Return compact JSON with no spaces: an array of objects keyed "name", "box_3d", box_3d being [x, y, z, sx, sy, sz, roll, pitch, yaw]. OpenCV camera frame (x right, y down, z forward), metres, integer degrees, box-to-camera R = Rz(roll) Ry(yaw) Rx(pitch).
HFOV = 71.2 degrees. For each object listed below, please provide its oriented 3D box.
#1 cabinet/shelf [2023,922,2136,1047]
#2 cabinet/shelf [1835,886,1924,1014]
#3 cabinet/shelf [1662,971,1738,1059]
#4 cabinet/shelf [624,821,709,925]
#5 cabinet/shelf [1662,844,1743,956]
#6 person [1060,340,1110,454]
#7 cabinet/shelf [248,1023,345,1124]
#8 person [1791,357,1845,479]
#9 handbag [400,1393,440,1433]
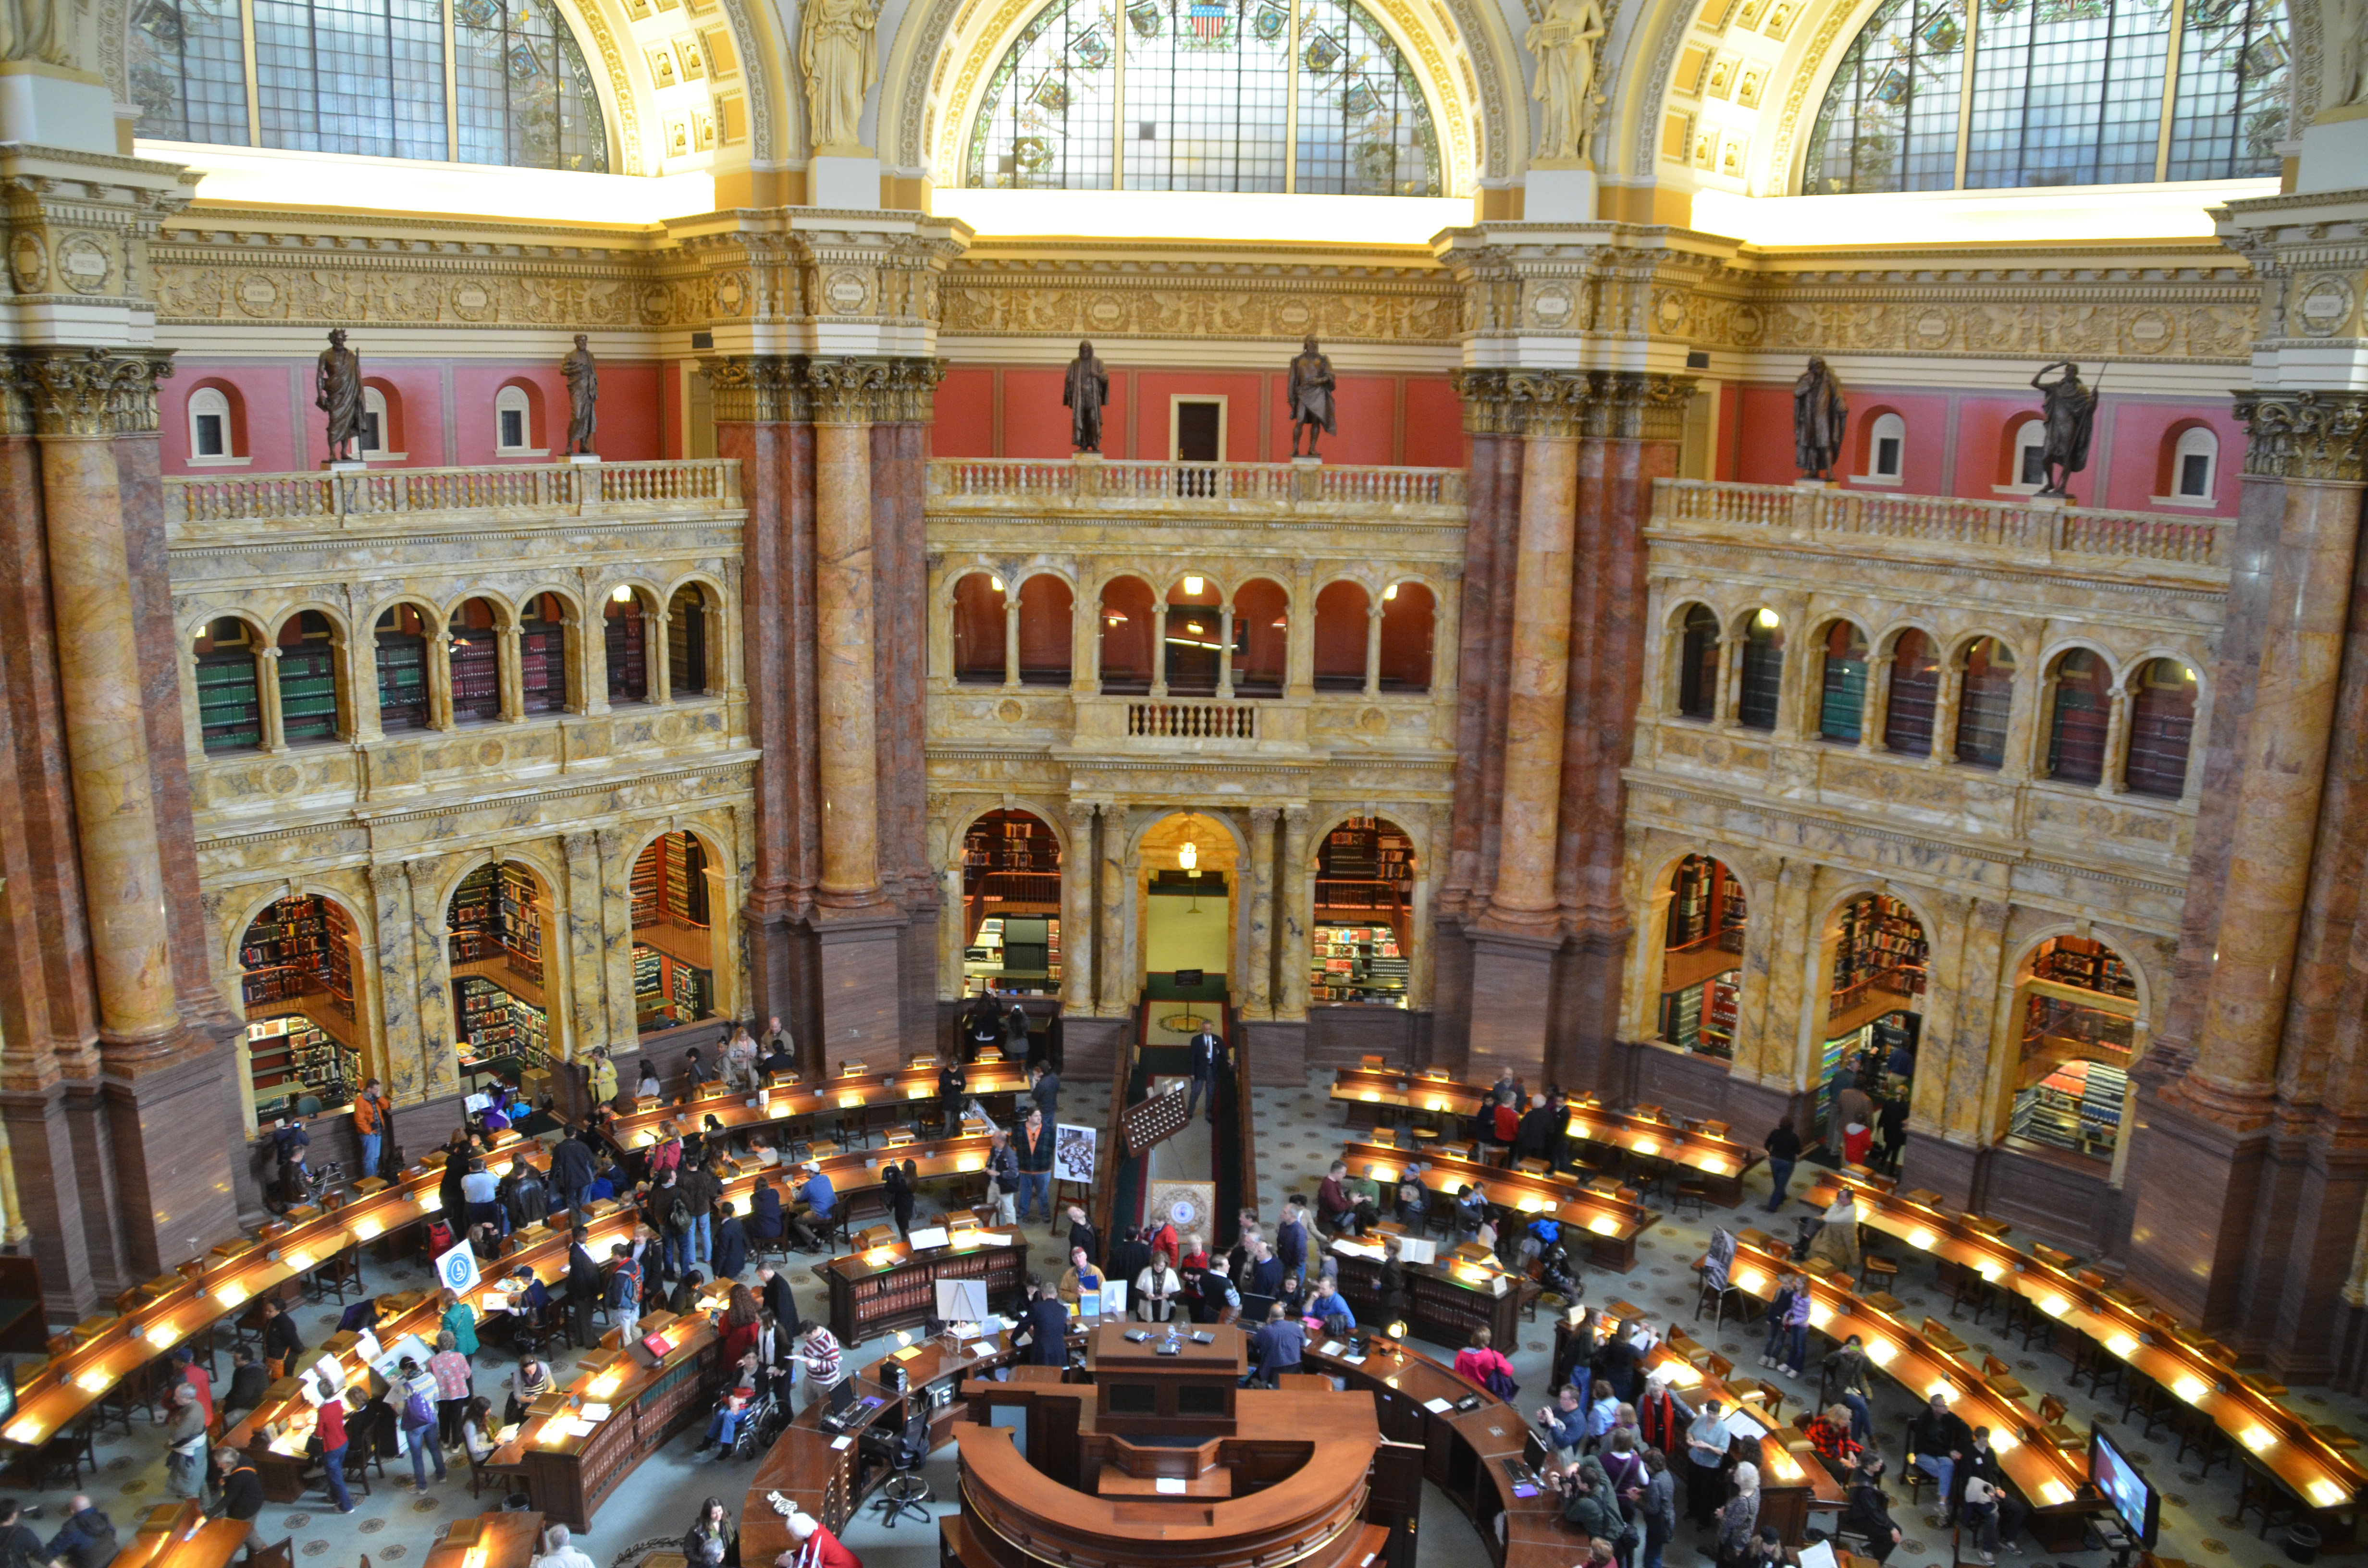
[{"name":"cabinet/shelf","box_3d":[15.437,3.390,28.758,2.220,0.576,2.364,-13,24,-31]},{"name":"cabinet/shelf","box_3d":[13.022,3.106,31.082,2.341,2.443,1.285,-1,4,-3]},{"name":"cabinet/shelf","box_3d":[9.854,4.495,31.822,1.440,1.405,0.771,-3,5,-36]},{"name":"cabinet/shelf","box_3d":[-10.262,1.858,33.562,1.872,2.651,1.863,1,-3,-3]},{"name":"cabinet/shelf","box_3d":[10.516,2.389,33.158,1.980,2.062,0.571,-11,17,-39]},{"name":"person","box_3d":[-1.799,-7.245,31.015,0.676,2.129,0.680,2,13,10]},{"name":"cabinet/shelf","box_3d":[-15.252,5.046,28.460,1.472,1.448,0.528,-2,10,-14]},{"name":"person","box_3d":[11.000,-6.334,28.685,0.759,2.067,1.162,4,14,20]},{"name":"handbag","box_3d":[-10.148,8.397,22.026,0.501,0.562,0.312,0,18,-7]}]
